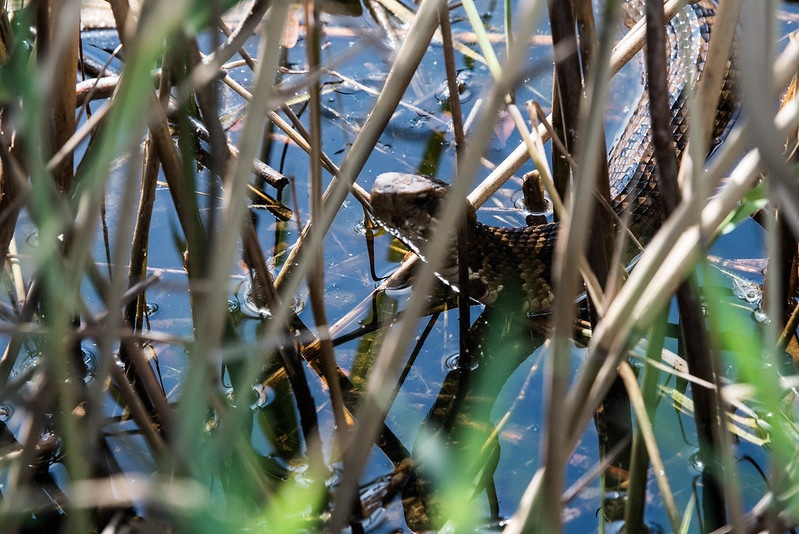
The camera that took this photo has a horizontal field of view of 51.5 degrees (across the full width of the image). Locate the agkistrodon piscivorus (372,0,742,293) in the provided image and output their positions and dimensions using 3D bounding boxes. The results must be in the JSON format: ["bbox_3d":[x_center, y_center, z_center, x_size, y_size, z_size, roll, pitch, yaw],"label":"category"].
[{"bbox_3d":[0.930,-0.572,3.974,0.922,1.274,2.359,16,16,33],"label":"agkistrodon piscivorus"}]
